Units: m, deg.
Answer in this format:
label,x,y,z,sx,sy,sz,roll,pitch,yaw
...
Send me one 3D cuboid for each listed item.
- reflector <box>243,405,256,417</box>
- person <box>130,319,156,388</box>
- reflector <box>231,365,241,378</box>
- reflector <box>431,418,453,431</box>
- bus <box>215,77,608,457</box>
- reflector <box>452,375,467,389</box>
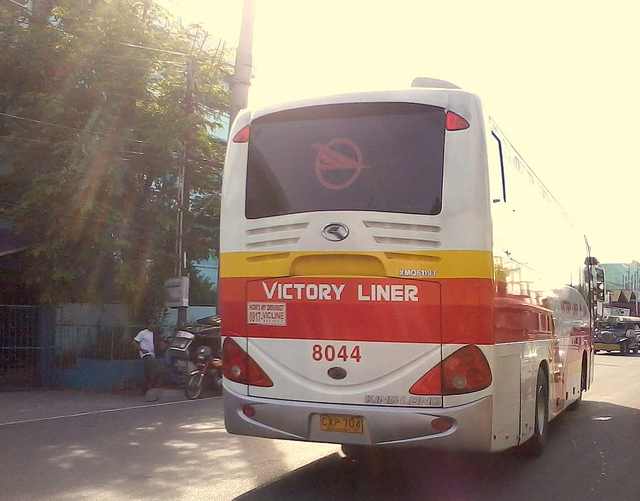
label,x,y,z,sx,sy,sz,roll,pitch,yaw
reflector,-0.733,1.674,5.625,0.105,0.109,0.025,-42,-22,20
person,-4.655,2.855,14.928,0.828,1.846,0.856,-7,13,-25
reflector,-0.892,1.287,5.764,0.126,0.131,0.008,-1,-4,31
reflector,1.117,1.583,4.932,0.186,0.108,0.019,2,-3,0
bus,1.799,0.540,8.093,2.525,3.515,7.205,-3,-6,25
reflector,1.288,1.202,4.959,0.101,0.123,0.112,1,1,9
